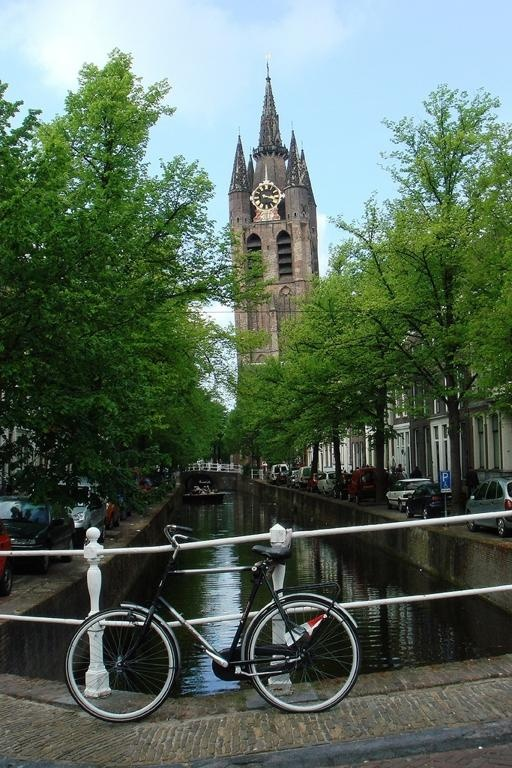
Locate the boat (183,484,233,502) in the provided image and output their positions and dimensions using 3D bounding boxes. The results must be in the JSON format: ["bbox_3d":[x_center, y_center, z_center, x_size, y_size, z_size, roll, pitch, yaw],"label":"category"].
[{"bbox_3d":[-5.048,10.619,67.597,1.863,1.556,4.628,0,-4,-19],"label":"boat"}]
